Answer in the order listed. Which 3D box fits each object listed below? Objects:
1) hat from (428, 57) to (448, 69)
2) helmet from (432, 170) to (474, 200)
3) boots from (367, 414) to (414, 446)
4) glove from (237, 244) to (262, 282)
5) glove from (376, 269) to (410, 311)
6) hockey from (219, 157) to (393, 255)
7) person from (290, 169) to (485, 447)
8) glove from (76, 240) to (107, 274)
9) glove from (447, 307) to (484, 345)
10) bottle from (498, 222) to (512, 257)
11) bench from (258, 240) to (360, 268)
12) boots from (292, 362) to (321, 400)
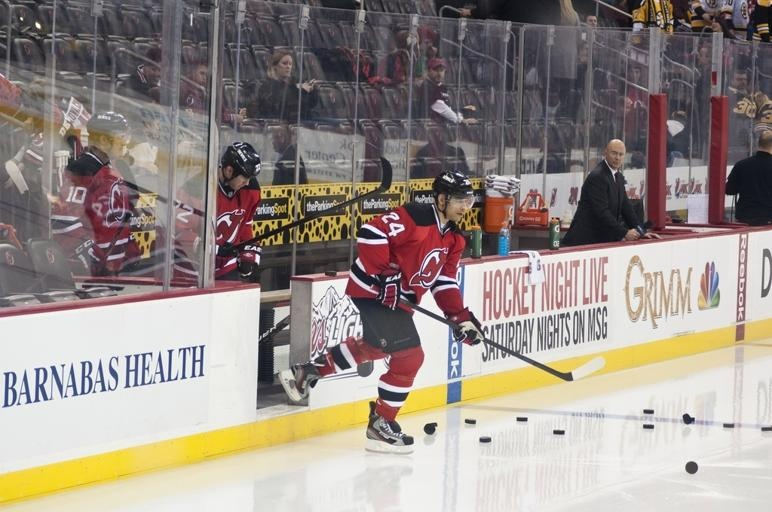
[{"bbox_3d":[0.497,-1.858,12.940,0.135,0.109,0.103,-12,11,-2],"label":"hat"},{"bbox_3d":[0.499,-0.519,9.810,0.245,0.231,0.193,-2,6,14],"label":"helmet"},{"bbox_3d":[0.045,1.290,9.826,0.420,0.267,0.150,4,-5,31],"label":"boots"},{"bbox_3d":[-1.124,0.072,10.659,0.239,0.316,0.123,-4,7,-45],"label":"glove"},{"bbox_3d":[0.040,0.237,9.801,0.231,0.301,0.099,-4,4,-8],"label":"glove"},{"bbox_3d":[-0.732,-0.406,11.357,1.439,0.118,0.454,-22,-45,26],"label":"hockey"},{"bbox_3d":[0.031,0.418,9.858,1.362,1.992,0.434,-4,4,3],"label":"person"},{"bbox_3d":[-2.036,0.017,9.211,0.078,0.227,0.181,-17,19,50],"label":"glove"},{"bbox_3d":[0.605,0.541,9.977,0.262,0.266,0.115,28,52,24],"label":"glove"},{"bbox_3d":[1.000,-0.125,11.252,0.085,0.236,0.234,-3,5,11],"label":"bottle"},{"bbox_3d":[-0.723,-0.019,12.109,1.246,0.199,0.288,-2,5,-40],"label":"bench"},{"bbox_3d":[-0.580,0.899,9.911,0.146,0.333,0.120,-8,21,-11],"label":"boots"}]
